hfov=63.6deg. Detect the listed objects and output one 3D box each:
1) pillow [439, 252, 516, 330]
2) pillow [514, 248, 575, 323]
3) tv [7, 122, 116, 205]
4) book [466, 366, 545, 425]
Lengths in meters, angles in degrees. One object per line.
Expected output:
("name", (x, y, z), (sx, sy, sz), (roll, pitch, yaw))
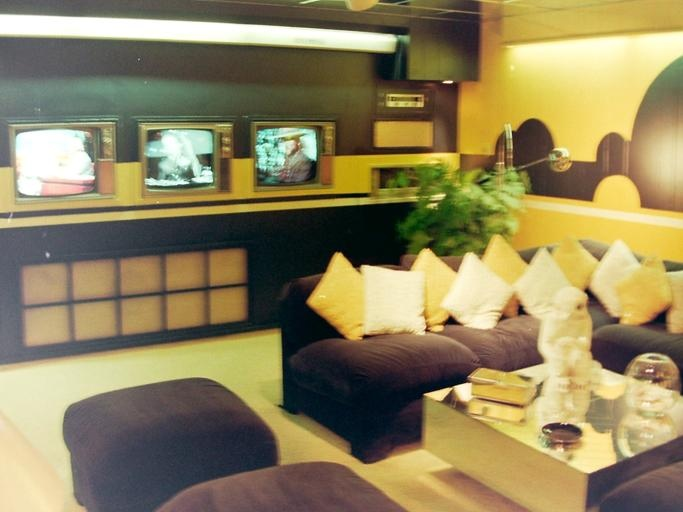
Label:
("pillow", (0.894, 0.229, 3.577), (0.443, 0.418, 0.127), (30, -12, -30))
("pillow", (1.369, 0.195, 3.759), (0.116, 0.405, 0.436), (-9, 35, 52))
("tv", (-1.992, -0.658, 3.843), (0.595, 0.451, 0.065), (-4, 10, -26))
("book", (0.754, 0.664, 2.637), (0.237, 0.148, 0.237), (8, 16, 33))
